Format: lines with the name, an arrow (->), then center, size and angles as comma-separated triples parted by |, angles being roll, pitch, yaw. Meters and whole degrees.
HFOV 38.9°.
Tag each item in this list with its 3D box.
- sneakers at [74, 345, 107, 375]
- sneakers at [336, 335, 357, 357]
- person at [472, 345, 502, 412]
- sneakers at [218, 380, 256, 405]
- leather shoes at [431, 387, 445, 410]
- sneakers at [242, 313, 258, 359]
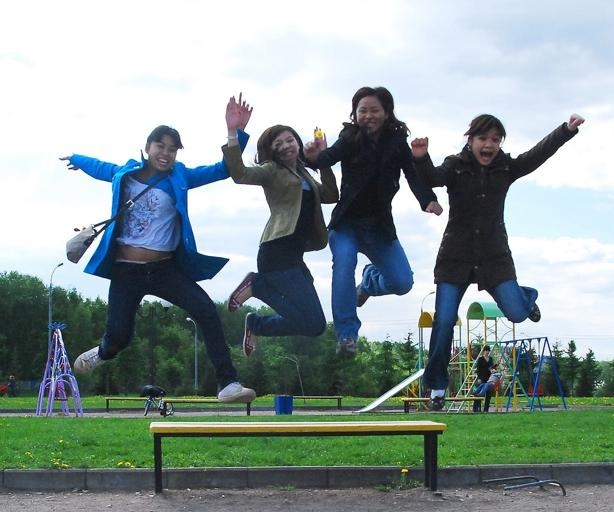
sneakers -> -2.941, 1.448, 11.977 | 0.668, 0.307, 0.238 | -26, -23, 36
sneakers -> 0.517, 1.169, 11.234 | 0.246, 0.241, 0.324 | 3, -4, 0
person -> 5.351, 3.612, 25.921 | 0.642, 2.050, 0.583 | 3, 25, 25
sneakers -> -0.934, 1.775, 11.251 | 0.556, 0.274, 0.213 | -2, -4, 14
leather shoes -> 1.660, 1.819, 11.094 | 0.187, 0.274, 0.624 | 2, -4, 9
sneakers -> -0.805, 1.122, 12.437 | 0.230, 0.630, 0.209 | 4, 11, 15
